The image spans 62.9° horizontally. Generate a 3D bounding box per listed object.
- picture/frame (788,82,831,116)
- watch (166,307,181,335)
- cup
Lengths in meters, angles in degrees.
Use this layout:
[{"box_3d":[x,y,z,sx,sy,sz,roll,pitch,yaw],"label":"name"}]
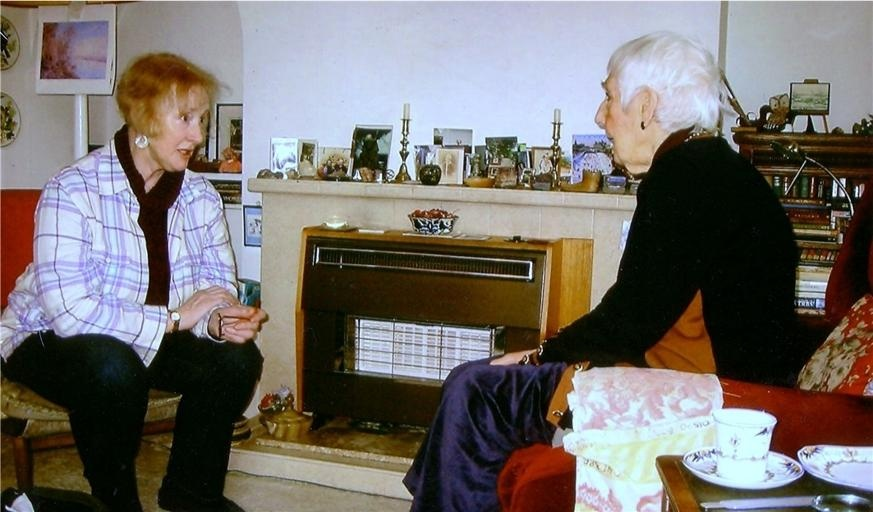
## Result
[{"box_3d":[2.168,-0.908,4.136,0.268,0.230,0.028,1,2,9],"label":"picture/frame"},{"box_3d":[-1.070,0.263,2.918,0.055,0.076,0.040,-5,10,-34],"label":"watch"},{"box_3d":[0.881,0.542,2.112,0.198,0.157,0.177,0,6,-15],"label":"cup"}]
